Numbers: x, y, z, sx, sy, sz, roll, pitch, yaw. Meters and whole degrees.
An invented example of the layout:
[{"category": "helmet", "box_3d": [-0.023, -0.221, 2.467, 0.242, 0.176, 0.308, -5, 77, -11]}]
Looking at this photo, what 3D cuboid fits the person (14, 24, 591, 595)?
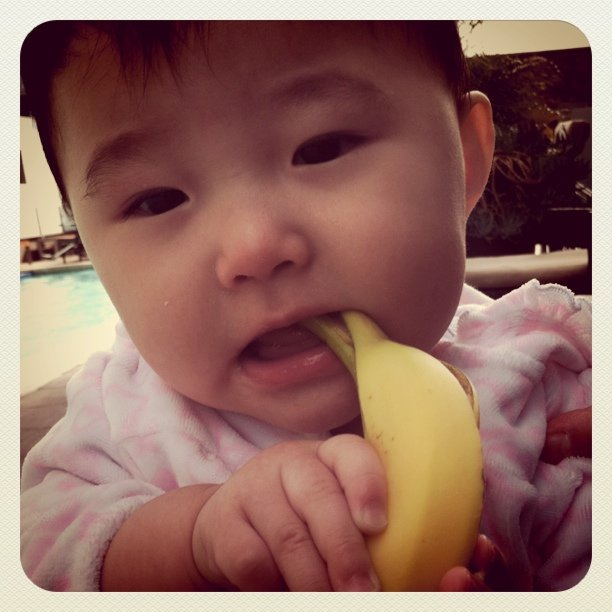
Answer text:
[{"category": "person", "box_3d": [-0.085, -0.036, 0.916, 0.764, 0.803, 0.438, -3, 22, 11]}]
